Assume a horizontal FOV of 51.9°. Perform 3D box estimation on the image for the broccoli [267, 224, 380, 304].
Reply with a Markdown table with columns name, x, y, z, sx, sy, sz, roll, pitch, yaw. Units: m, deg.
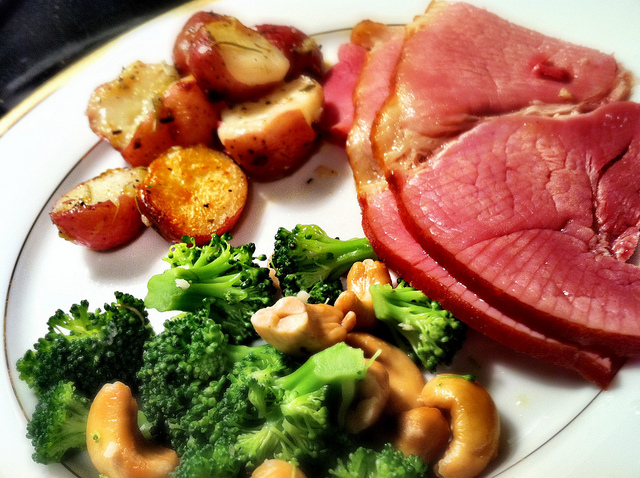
| name | x | y | z | sx | sy | sz | roll | pitch | yaw |
| --- | --- | --- | --- | --- | --- | --- | --- | --- | --- |
| broccoli | 0.020 | 0.092 | 2.661 | 0.462 | 0.354 | 0.344 | -6 | 94 | 23 |

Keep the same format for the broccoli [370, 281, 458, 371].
| name | x | y | z | sx | sy | sz | roll | pitch | yaw |
| --- | --- | --- | --- | --- | --- | --- | --- | --- | --- |
| broccoli | 0.349 | 0.298 | 2.406 | 0.290 | 0.135 | 0.291 | 30 | 79 | 24 |

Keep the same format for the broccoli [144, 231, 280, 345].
| name | x | y | z | sx | sy | sz | roll | pitch | yaw |
| --- | --- | --- | --- | --- | --- | --- | --- | --- | --- |
| broccoli | -0.445 | 0.167 | 2.588 | 0.450 | 0.252 | 0.400 | 4 | 33 | -10 |

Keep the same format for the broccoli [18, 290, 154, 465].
| name | x | y | z | sx | sy | sz | roll | pitch | yaw |
| --- | --- | --- | --- | --- | --- | --- | --- | --- | --- |
| broccoli | -0.883 | 0.464 | 2.633 | 0.502 | 0.315 | 0.606 | 44 | 90 | 1 |
